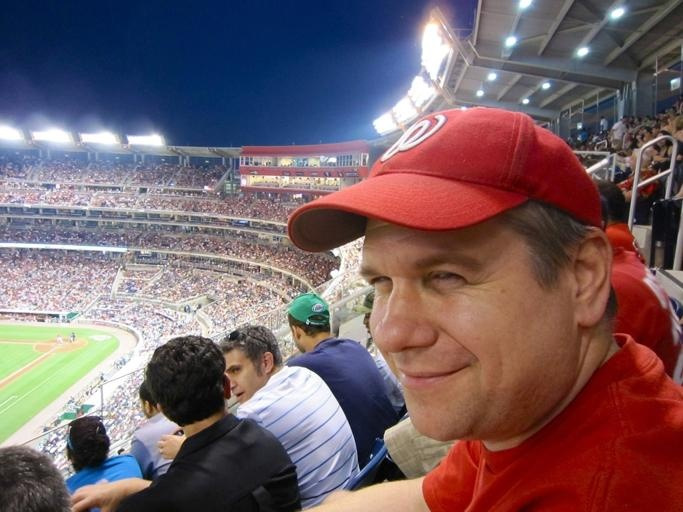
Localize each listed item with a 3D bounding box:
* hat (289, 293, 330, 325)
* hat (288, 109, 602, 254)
[{"bbox_3d":[-0.308,0.473,4.085,0.419,0.243,0.504,6,4,-25],"label":"hat"},{"bbox_3d":[0.430,-0.273,1.657,1.178,0.432,0.741,5,-7,-23],"label":"hat"}]
